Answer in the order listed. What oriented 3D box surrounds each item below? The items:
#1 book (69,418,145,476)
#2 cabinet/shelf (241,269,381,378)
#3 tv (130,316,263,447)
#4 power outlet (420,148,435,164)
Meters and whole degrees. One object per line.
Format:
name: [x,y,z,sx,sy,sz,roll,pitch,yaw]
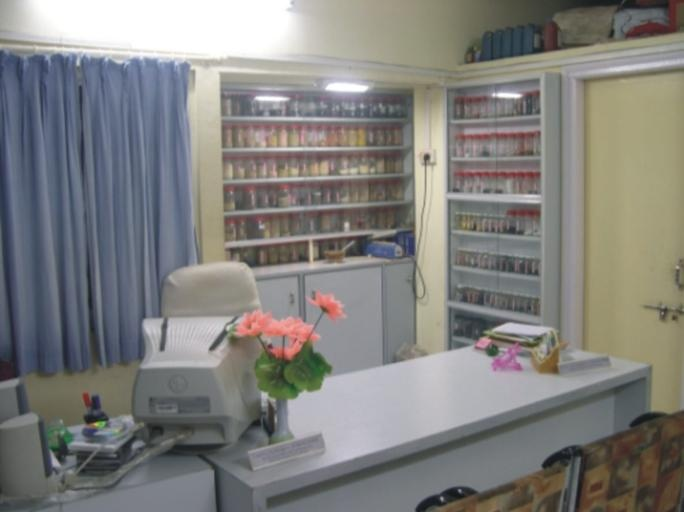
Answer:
book: [-0.893,0.717,2.186,0.157,0.086,0.226,0,12,9]
cabinet/shelf: [-0.203,0.399,3.661,0.895,0.903,0.317,0,-1,-40]
tv: [-0.539,0.461,2.145,0.378,0.497,0.488,0,-9,1]
power outlet: [0.785,-0.910,5.193,0.130,0.130,0.043,10,14,43]
